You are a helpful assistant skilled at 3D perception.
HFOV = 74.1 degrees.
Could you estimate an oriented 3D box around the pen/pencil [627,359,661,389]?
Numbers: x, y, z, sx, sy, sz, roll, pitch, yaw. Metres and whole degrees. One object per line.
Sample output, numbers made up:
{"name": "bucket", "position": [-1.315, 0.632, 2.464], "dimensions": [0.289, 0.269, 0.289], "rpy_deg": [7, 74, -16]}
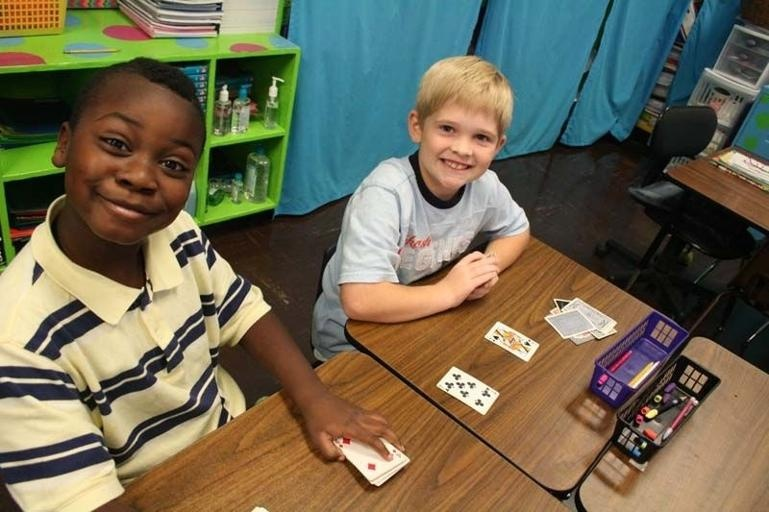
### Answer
{"name": "pen/pencil", "position": [0.877, 0.403, 1.721], "dimensions": [0.105, 0.019, 0.015], "rpy_deg": [-35, 20, -20]}
